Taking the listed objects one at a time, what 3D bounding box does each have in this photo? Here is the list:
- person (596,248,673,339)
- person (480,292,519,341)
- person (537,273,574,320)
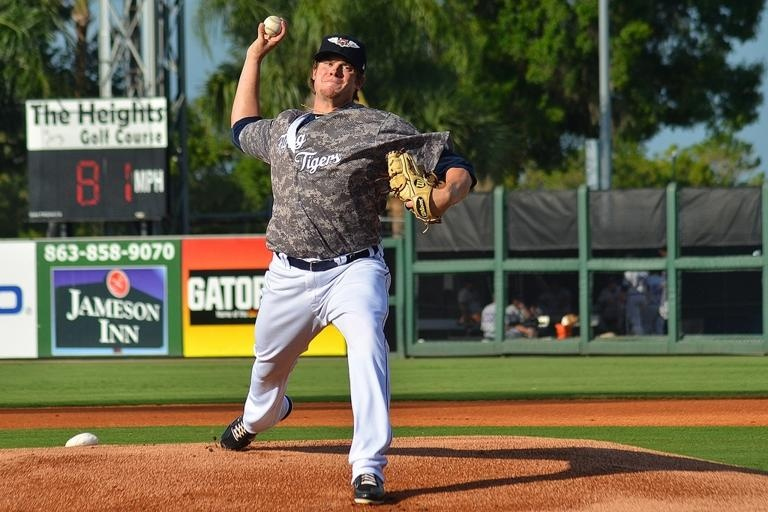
[{"bbox_3d":[4.281,0.678,30.337,1.157,2.285,0.833,4,9,7],"label":"person"},{"bbox_3d":[1.878,1.110,30.630,0.649,0.773,0.558,-2,8,-14],"label":"person"},{"bbox_3d":[2.916,0.743,30.505,0.589,1.312,0.464,-2,-16,5],"label":"person"}]
